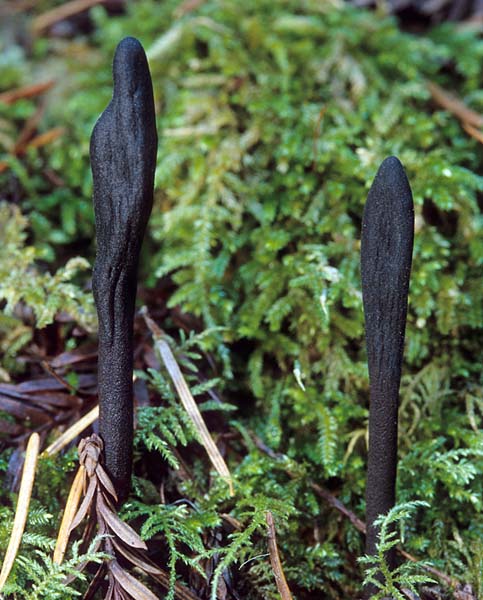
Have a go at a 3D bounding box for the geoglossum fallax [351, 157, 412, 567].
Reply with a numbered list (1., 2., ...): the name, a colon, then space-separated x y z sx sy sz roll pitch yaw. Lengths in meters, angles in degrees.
1. geoglossum fallax: 0.258 0.109 1.264 0.090 0.701 0.315 0 28 13
